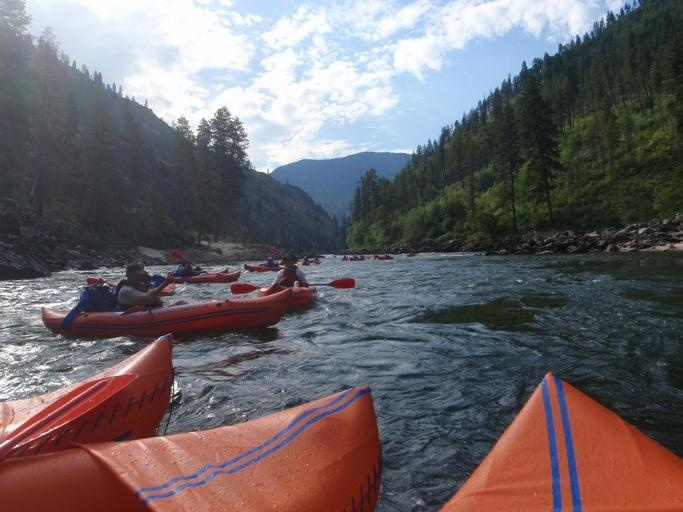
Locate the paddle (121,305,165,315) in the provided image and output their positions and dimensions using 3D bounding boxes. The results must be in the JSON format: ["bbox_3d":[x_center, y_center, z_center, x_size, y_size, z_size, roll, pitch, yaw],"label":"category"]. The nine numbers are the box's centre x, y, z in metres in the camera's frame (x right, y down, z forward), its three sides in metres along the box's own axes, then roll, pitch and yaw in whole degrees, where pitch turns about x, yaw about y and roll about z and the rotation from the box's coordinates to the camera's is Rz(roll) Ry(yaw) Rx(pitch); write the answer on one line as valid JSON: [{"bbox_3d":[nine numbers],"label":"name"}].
[{"bbox_3d":[-3.669,0.986,8.220,0.757,0.190,0.579,-6,2,-20],"label":"paddle"}]
